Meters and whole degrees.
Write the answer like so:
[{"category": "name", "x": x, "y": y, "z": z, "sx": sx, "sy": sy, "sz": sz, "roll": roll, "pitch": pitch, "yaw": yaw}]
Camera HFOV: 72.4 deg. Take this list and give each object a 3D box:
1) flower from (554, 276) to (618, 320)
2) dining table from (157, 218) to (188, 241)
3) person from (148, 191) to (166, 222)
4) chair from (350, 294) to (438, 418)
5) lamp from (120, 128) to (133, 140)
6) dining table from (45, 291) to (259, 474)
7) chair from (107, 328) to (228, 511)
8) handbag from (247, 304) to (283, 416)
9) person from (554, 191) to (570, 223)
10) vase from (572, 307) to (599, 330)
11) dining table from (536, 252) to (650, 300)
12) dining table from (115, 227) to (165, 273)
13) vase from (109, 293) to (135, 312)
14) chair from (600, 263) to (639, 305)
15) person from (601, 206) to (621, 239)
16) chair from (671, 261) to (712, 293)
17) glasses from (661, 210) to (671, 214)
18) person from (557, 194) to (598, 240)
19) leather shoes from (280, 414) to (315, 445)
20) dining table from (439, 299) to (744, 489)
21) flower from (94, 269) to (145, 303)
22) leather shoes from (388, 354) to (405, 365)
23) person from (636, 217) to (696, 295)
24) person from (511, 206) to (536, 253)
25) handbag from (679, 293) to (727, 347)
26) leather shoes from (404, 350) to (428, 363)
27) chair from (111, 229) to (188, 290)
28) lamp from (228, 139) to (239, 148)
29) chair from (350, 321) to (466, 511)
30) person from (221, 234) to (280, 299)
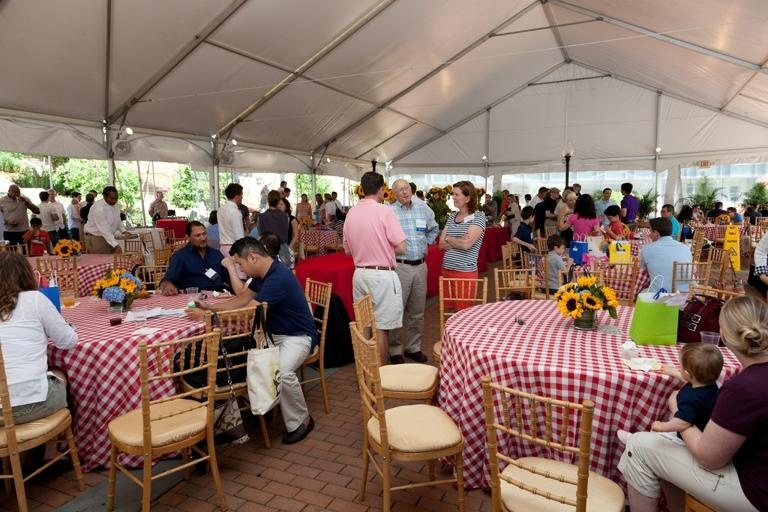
[{"category": "flower", "x": 1.581, "y": 0.309, "z": 4.093, "sx": 0.359, "sy": 0.255, "sz": 0.362, "roll": 5, "pitch": 8, "yaw": 35}, {"category": "dining table", "x": -4.523, "y": -0.556, "z": 11.223, "sx": 0.691, "sy": 0.461, "sz": 0.700, "roll": 4, "pitch": 6, "yaw": 22}, {"category": "person", "x": -5.667, "y": -1.262, "z": 13.203, "sx": 0.416, "sy": 0.757, "sz": 0.759, "roll": -3, "pitch": 7, "yaw": -25}, {"category": "chair", "x": 0.182, "y": 0.699, "z": 4.581, "sx": 0.835, "sy": 1.380, "sz": 0.773, "roll": -1, "pitch": 14, "yaw": 7}, {"category": "lamp", "x": -4.492, "y": -2.146, "z": 9.154, "sx": 0.175, "sy": 0.163, "sz": 0.159, "roll": -19, "pitch": 9, "yaw": 38}, {"category": "dining table", "x": -1.925, "y": 1.067, "z": 4.389, "sx": 1.384, "sy": 0.852, "sz": 1.320, "roll": 4, "pitch": 10, "yaw": 19}, {"category": "chair", "x": -1.687, "y": 1.208, "z": 4.012, "sx": 0.827, "sy": 1.352, "sz": 0.852, "roll": -4, "pitch": 7, "yaw": -29}, {"category": "handbag", "x": -0.971, "y": 0.833, "z": 4.197, "sx": 0.261, "sy": 0.856, "sz": 0.203, "roll": -2, "pitch": 7, "yaw": -15}, {"category": "person", "x": 3.139, "y": -0.863, "z": 9.281, "sx": 0.272, "sy": 0.346, "sz": 0.791, "roll": 2, "pitch": -7, "yaw": 25}, {"category": "vase", "x": 1.602, "y": 0.504, "z": 4.200, "sx": 0.152, "sy": 0.167, "sz": 0.171, "roll": -1, "pitch": 2, "yaw": -8}, {"category": "dining table", "x": 2.419, "y": 0.233, "z": 5.750, "sx": 0.809, "sy": 0.617, "sz": 0.699, "roll": -7, "pitch": 10, "yaw": -37}, {"category": "dining table", "x": -3.840, "y": -0.093, "z": 8.245, "sx": 0.577, "sy": 0.981, "sz": 0.661, "roll": 4, "pitch": 18, "yaw": -2}, {"category": "vase", "x": -2.358, "y": 0.421, "z": 4.734, "sx": 0.163, "sy": 0.143, "sz": 0.188, "roll": 1, "pitch": -5, "yaw": -17}, {"category": "chair", "x": 2.412, "y": 0.292, "z": 5.370, "sx": 0.335, "sy": 0.550, "sz": 0.338, "roll": 4, "pitch": 15, "yaw": 23}, {"category": "person", "x": 3.478, "y": -0.523, "z": 7.972, "sx": 0.279, "sy": 0.491, "sz": 0.826, "roll": 3, "pitch": 7, "yaw": 24}, {"category": "chair", "x": 3.338, "y": 0.226, "z": 5.738, "sx": 0.252, "sy": 0.411, "sz": 0.256, "roll": 2, "pitch": 20, "yaw": 20}, {"category": "glasses", "x": 4.575, "y": -0.705, "z": 8.537, "sx": 0.125, "sy": 0.067, "sz": 0.120, "roll": 10, "pitch": 0, "yaw": -19}, {"category": "person", "x": 2.902, "y": -0.522, "z": 7.734, "sx": 0.522, "sy": 0.793, "sz": 0.478, "roll": 3, "pitch": 17, "yaw": 1}, {"category": "leather shoes", "x": -0.736, "y": 1.538, "z": 4.633, "sx": 0.117, "sy": 0.116, "sz": 0.284, "roll": 5, "pitch": 12, "yaw": 24}, {"category": "dining table", "x": 1.423, "y": 0.971, "z": 3.536, "sx": 1.448, "sy": 0.556, "sz": 1.472, "roll": 0, "pitch": 0, "yaw": 2}, {"category": "flower", "x": -2.415, "y": 0.263, "z": 4.795, "sx": 0.315, "sy": 0.308, "sz": 0.348, "roll": -2, "pitch": 10, "yaw": -14}, {"category": "leather shoes", "x": 0.123, "y": 1.099, "z": 5.561, "sx": 0.145, "sy": 0.115, "sz": 0.285, "roll": 0, "pitch": -10, "yaw": -11}, {"category": "person", "x": 3.215, "y": -0.029, "z": 6.046, "sx": 0.651, "sy": 0.889, "sz": 0.644, "roll": -19, "pitch": 15, "yaw": -28}, {"category": "person", "x": 2.367, "y": -0.456, "z": 8.717, "sx": 0.377, "sy": 0.741, "sz": 1.039, "roll": 2, "pitch": 6, "yaw": 16}, {"category": "handbag", "x": 2.399, "y": 0.489, "z": 3.953, "sx": 0.368, "sy": 0.372, "sz": 0.271, "roll": -2, "pitch": 8, "yaw": -43}, {"category": "leather shoes", "x": 0.360, "y": 1.109, "z": 5.766, "sx": 0.262, "sy": 0.108, "sz": 0.097, "roll": -1, "pitch": 2, "yaw": 36}, {"category": "chair", "x": -3.167, "y": 0.037, "z": 7.027, "sx": 0.773, "sy": 1.271, "sz": 0.811, "roll": -2, "pitch": 16, "yaw": -31}, {"category": "lamp", "x": -3.201, "y": -2.419, "z": 11.184, "sx": 0.152, "sy": 0.176, "sz": 0.041, "roll": 0, "pitch": 35, "yaw": -4}, {"category": "chair", "x": 0.173, "y": 1.190, "z": 3.864, "sx": 0.851, "sy": 1.395, "sz": 0.687, "roll": 1, "pitch": 7, "yaw": 10}, {"category": "person", "x": -1.231, "y": 0.101, "z": 4.911, "sx": 0.454, "sy": 0.588, "sz": 0.859, "roll": -2, "pitch": 6, "yaw": -14}]
